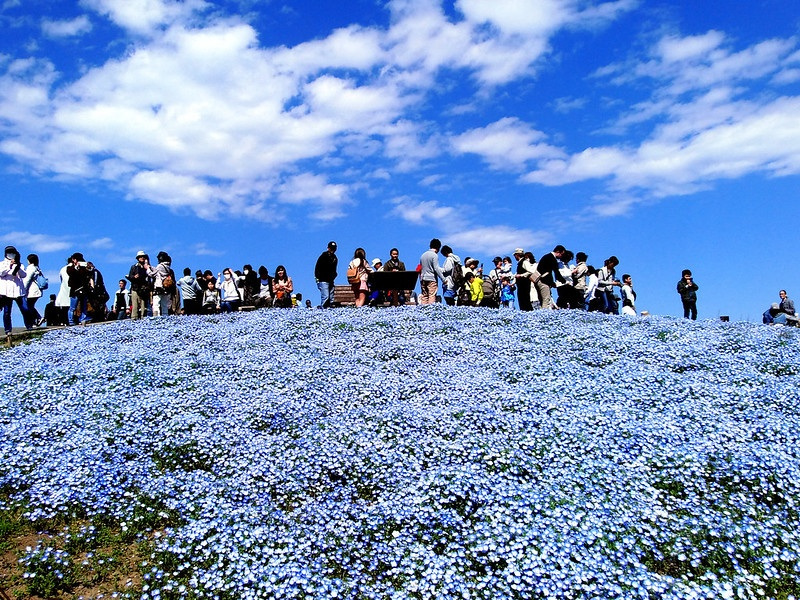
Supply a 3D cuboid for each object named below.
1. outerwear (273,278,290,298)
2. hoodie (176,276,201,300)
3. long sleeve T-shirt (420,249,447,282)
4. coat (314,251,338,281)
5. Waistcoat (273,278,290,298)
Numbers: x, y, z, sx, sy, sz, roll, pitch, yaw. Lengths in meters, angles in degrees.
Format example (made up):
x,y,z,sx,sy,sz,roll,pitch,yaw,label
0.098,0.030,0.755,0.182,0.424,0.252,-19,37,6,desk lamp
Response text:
x,y,z,sx,sy,sz,roll,pitch,yaw,label
-3.550,-0.342,17.664,0.520,0.861,0.362,-1,-14,-12,outerwear
-5.811,-0.305,16.297,0.720,0.723,0.498,-5,12,-21,hoodie
0.862,-0.946,16.226,0.593,0.756,0.566,-2,0,2,long sleeve T-shirt
-2.004,-0.904,16.211,0.528,0.808,0.755,-2,0,-10,coat
-3.550,-0.342,17.664,0.520,0.861,0.362,-1,-14,-12,Waistcoat
